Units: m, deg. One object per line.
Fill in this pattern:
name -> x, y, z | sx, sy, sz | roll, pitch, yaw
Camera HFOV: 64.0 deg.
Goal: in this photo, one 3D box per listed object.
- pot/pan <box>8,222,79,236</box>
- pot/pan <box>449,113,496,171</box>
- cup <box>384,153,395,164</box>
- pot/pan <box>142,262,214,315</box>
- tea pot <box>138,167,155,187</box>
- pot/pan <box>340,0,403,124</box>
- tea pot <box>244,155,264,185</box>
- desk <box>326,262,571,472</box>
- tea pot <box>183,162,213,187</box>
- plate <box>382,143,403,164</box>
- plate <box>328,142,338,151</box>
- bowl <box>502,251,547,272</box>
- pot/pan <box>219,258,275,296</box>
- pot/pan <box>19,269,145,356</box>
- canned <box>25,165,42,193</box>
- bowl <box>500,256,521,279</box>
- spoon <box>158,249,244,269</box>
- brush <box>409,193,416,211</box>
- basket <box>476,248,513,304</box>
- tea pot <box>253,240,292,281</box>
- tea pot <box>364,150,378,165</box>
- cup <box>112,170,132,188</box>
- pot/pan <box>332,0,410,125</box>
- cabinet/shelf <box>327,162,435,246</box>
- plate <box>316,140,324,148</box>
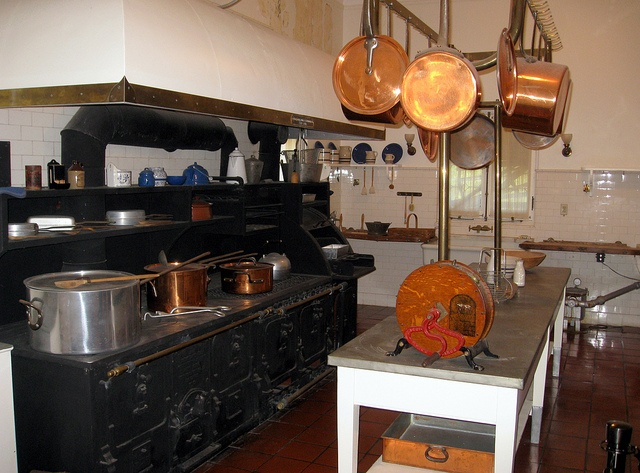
pot/pan -> -1.806, -0.059, 3.353 | 0.126, 0.085, 0.414 | 7, 11, 42
pot/pan -> 1.179, -0.729, 3.974 | 0.397, 0.404, 0.084 | 22, 17, 30
cup -> 1.093, -1.236, 8.098 | 0.148, 0.147, 0.145 | 0, 8, 0
pot/pan -> -1.104, 0.368, 3.970 | 0.480, 0.326, 0.482 | 10, 12, 44
tea pot -> -1.384, -0.480, 4.129 | 0.139, 0.161, 0.147 | 1, -2, 0
pot/pan -> 0.269, -0.941, 2.787 | 0.390, 0.602, 0.481 | 0, 8, 5
tea pot -> -0.659, -0.665, 5.097 | 0.240, 0.360, 0.244 | 0, 0, 0
desk -> 1.027, 0.867, 3.537 | 0.971, 1.707, 2.303 | 4, 10, 31
tea pot -> -1.091, -0.546, 4.541 | 0.146, 0.168, 0.237 | -2, 7, -8
plate -> 1.163, -1.329, 8.145 | 0.306, 0.314, 0.064 | 9, 7, 29
plate -> 0.196, -1.486, 8.319 | 0.136, 0.123, 0.282 | 1, 9, 7
bowl -> 2.009, 0.198, 5.017 | 0.327, 0.110, 0.332 | 0, 0, 0
pot/pan -> -0.642, 0.309, 4.518 | 0.438, 0.293, 0.590 | 1, 6, 0
pot/pan -> -1.488, 0.465, 3.247 | 0.624, 0.446, 0.747 | 0, 3, 22
canned -> -1.946, -0.414, 3.512 | 0.100, 0.153, 0.143 | -6, 10, -36
bowl -> 1.605, 0.261, 4.342 | 0.213, 0.144, 0.214 | -1, 1, 0
spoon -> -0.901, 0.188, 4.152 | 0.189, 0.038, 0.593 | 16, 15, 37
brush -> 1.441, -0.538, 8.082 | 0.080, 0.258, 0.054 | 2, 8, 16
basket -> 1.341, 0.309, 3.964 | 0.192, 0.458, 0.316 | -1, -10, 26
tea pot -> -0.449, 0.228, 4.929 | 0.359, 0.390, 0.365 | 1, -2, 0
tea pot -> 0.804, -1.263, 8.126 | 0.203, 0.197, 0.157 | 0, 1, -7
cup -> -1.488, -0.443, 3.883 | 0.117, 0.115, 0.120 | 1, 7, 0
pot/pan -> 0.278, -0.863, 2.730 | 0.402, 0.645, 0.247 | 2, 10, 25
cabinet/shelf -> 0.855, -0.617, 8.047 | 1.870, 1.282, 0.975 | 3, 13, 17
plate -> 0.009, -1.411, 7.956 | 0.039, 0.170, 0.168 | -5, -3, 37
